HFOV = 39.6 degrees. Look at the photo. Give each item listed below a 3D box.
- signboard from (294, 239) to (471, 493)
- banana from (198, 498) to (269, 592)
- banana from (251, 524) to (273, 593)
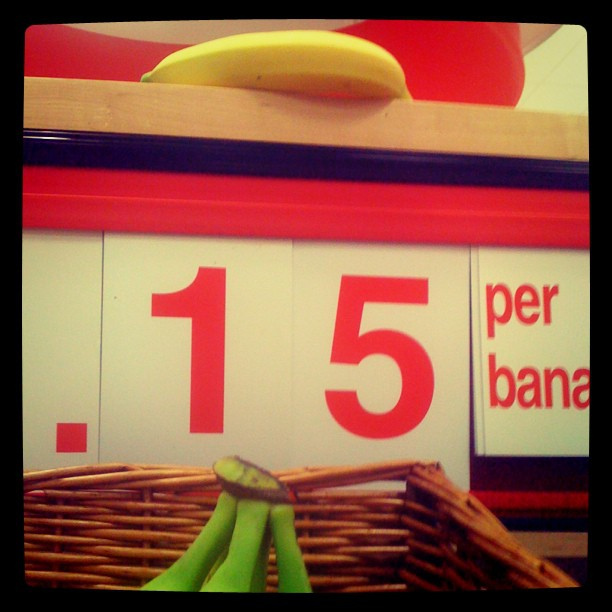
[{"bbox_3d":[0.131,0.130,1.535,0.334,0.565,0.055,2,-31,10],"label":"signboard"},{"bbox_3d":[-0.123,0.416,1.491,0.114,0.156,0.022,1,-4,-6],"label":"banana"},{"bbox_3d":[-0.080,0.436,1.501,0.021,0.125,0.029,3,-1,-4],"label":"banana"}]
